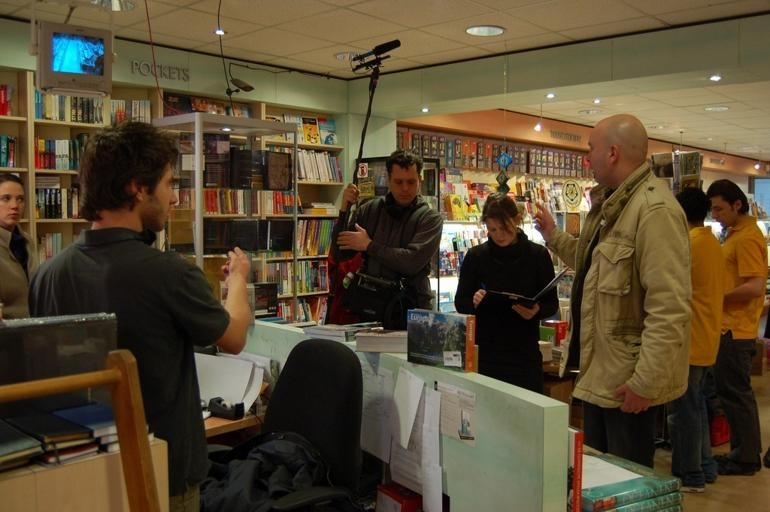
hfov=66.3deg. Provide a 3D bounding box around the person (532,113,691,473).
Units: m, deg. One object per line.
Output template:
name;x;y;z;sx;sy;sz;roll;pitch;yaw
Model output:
person;1.157;0.150;2.979;0.352;1.293;0.749;1;3;-36

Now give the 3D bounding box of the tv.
tv;-2.166;-1.335;4.021;0.635;0.572;0.208;1;-5;-31

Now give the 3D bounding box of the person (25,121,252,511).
person;-0.938;0.243;2.249;0.792;1.493;0.413;2;3;-19

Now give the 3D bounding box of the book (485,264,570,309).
book;0.902;0.206;3.736;0.456;0.283;0.300;20;-12;15

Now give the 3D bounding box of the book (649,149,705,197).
book;2.600;-0.715;5.139;0.411;0.457;0.479;-7;8;-40

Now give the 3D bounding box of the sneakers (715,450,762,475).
sneakers;2.829;1.677;4.747;0.375;0.161;0.177;6;-1;16
